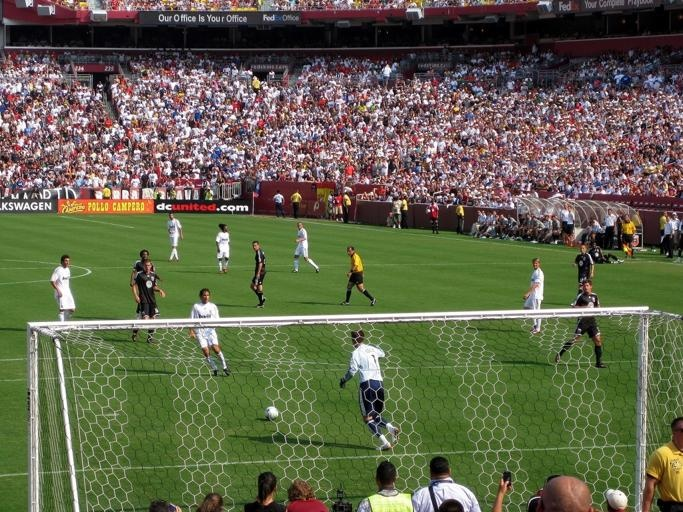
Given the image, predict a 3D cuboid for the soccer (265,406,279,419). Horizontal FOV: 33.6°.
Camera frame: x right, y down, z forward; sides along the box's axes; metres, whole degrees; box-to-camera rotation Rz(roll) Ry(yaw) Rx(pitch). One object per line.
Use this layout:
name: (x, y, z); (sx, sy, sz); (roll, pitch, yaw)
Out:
soccer: (-1.707, 3.862, 27.884); (0.276, 0.318, 0.294); (-6, 0, -14)

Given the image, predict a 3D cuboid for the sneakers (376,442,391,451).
sneakers: (0.999, 4.502, 26.982); (0.285, 0.319, 0.154); (2, 4, 30)

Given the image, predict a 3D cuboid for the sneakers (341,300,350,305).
sneakers: (0.114, 1.590, 39.097); (0.103, 0.143, 0.278); (1, 2, -44)

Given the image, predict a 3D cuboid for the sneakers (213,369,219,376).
sneakers: (-3.372, 3.086, 30.360); (0.178, 0.174, 0.264); (-2, 5, -6)
